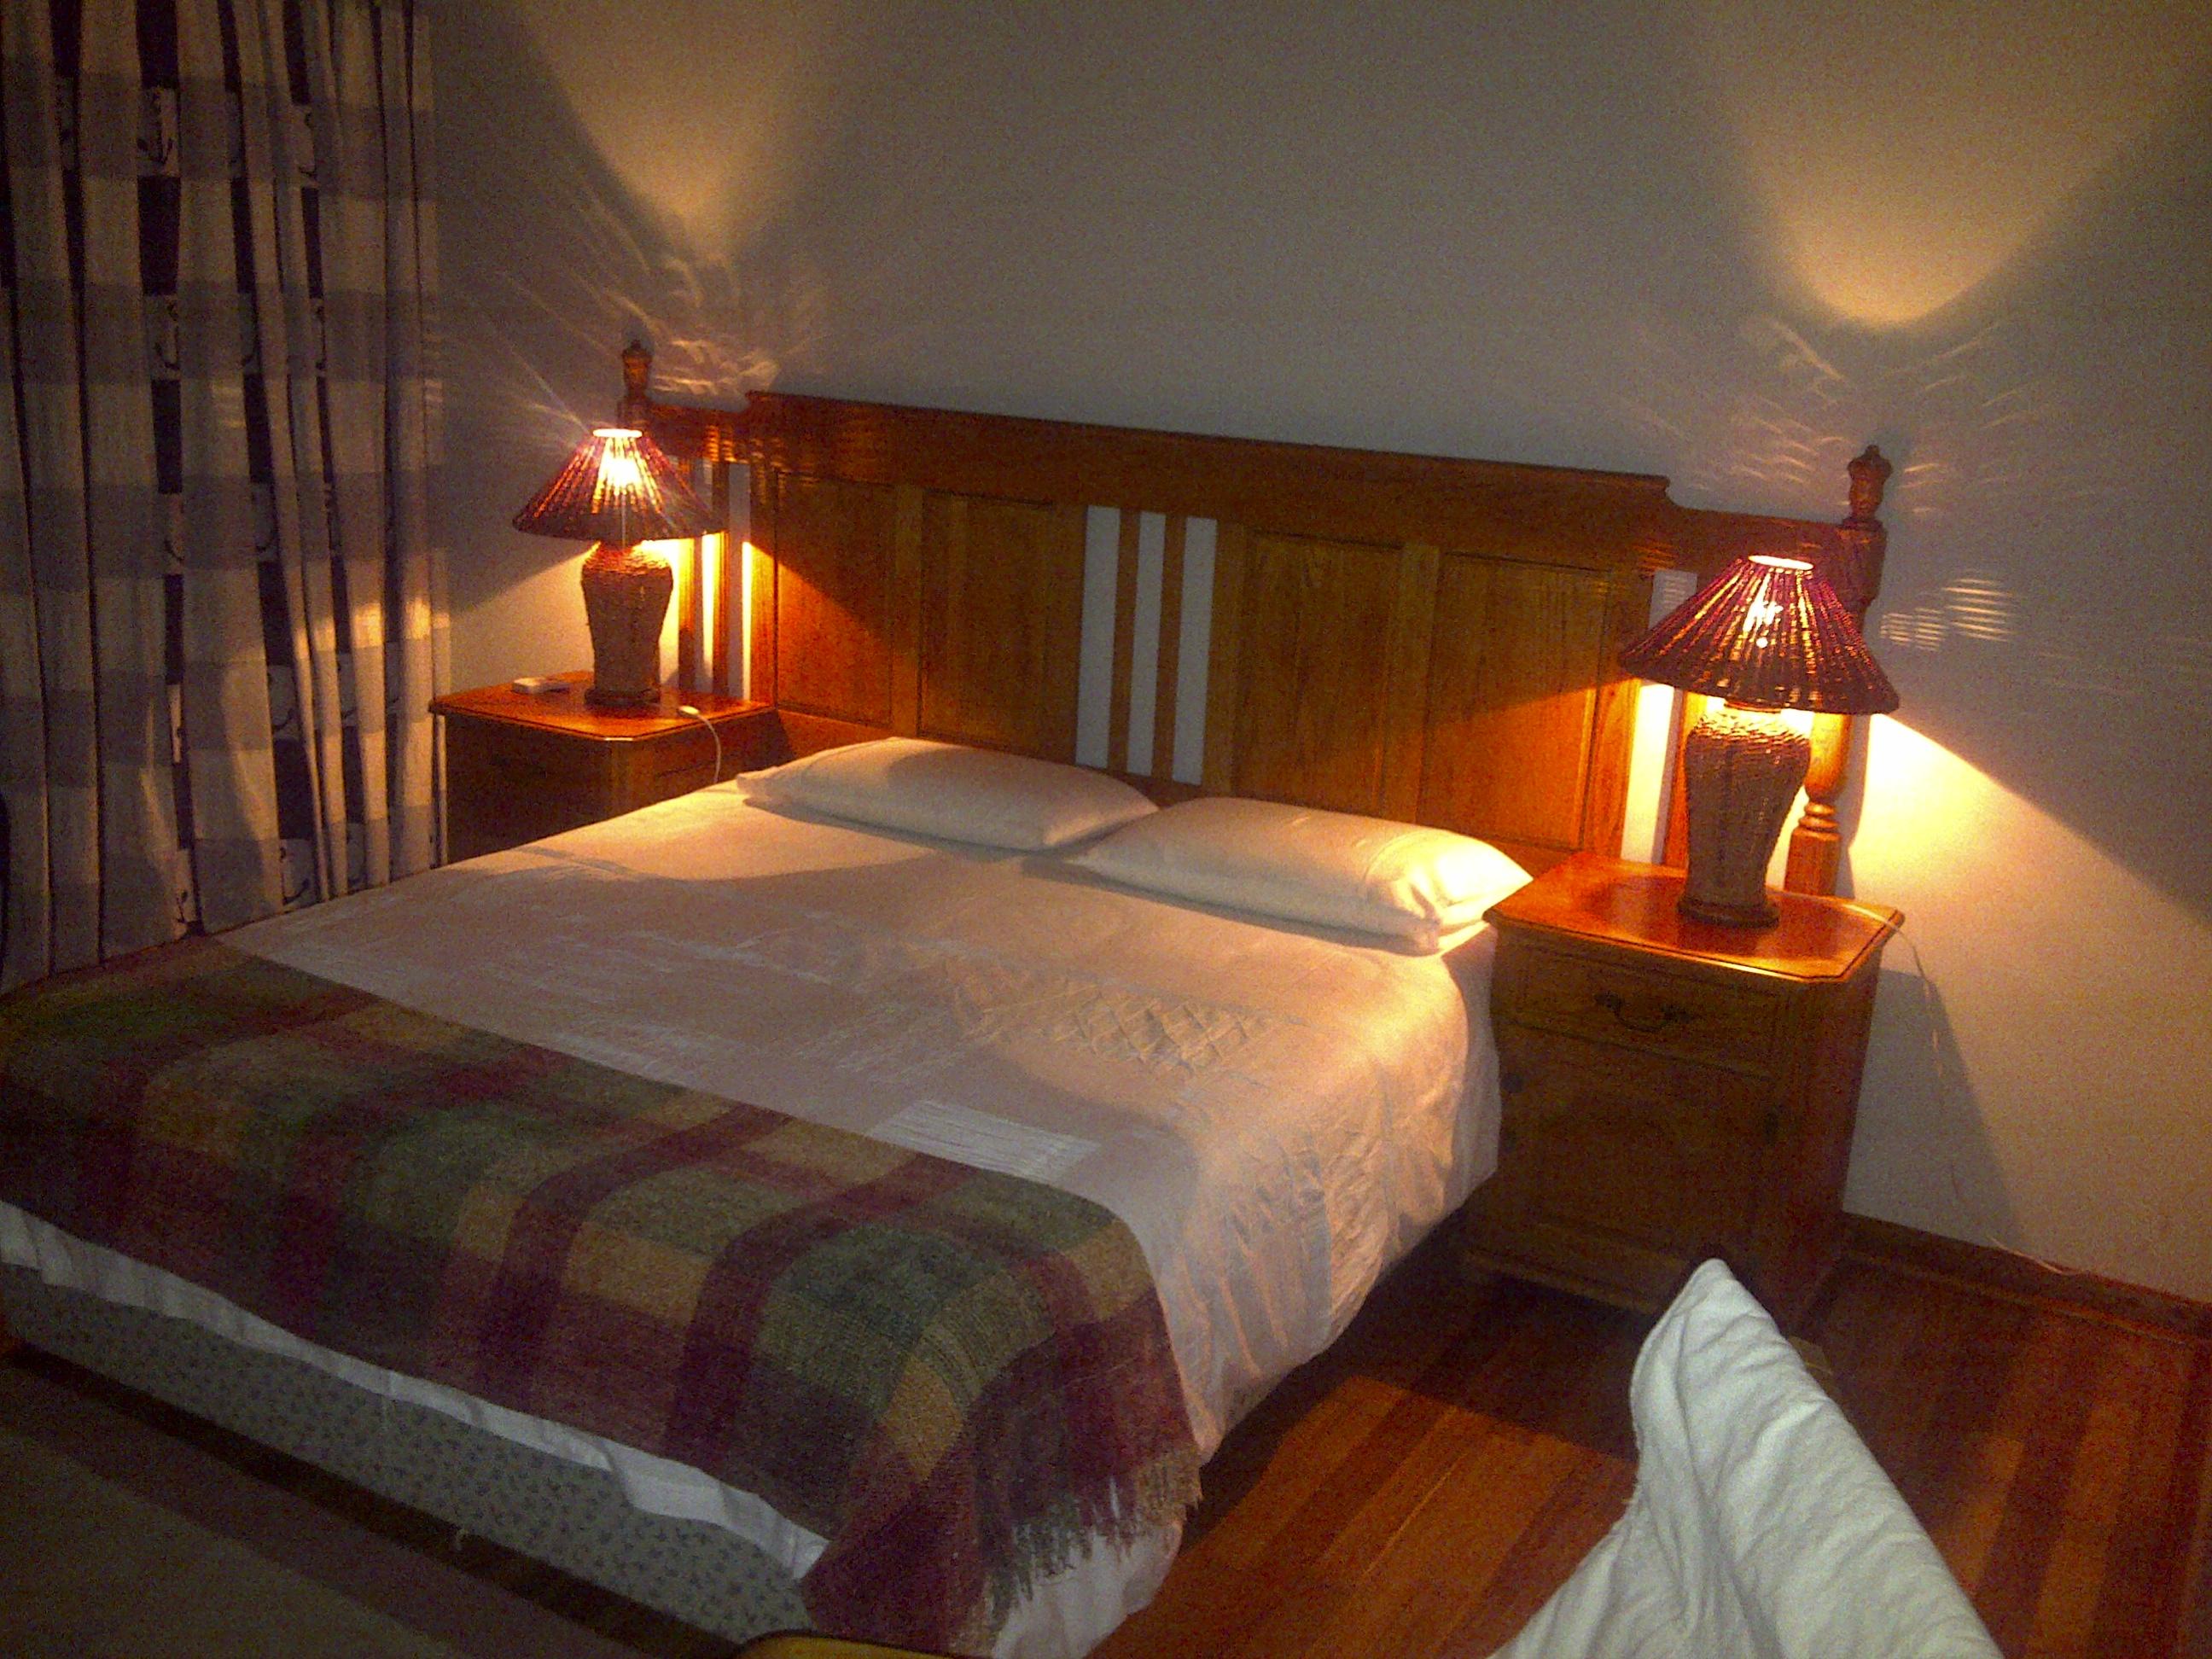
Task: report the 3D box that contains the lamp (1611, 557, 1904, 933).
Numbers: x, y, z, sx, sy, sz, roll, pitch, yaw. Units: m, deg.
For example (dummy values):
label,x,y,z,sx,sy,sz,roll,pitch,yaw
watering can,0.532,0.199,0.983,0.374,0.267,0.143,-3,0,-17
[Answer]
label,x,y,z,sx,sy,sz,roll,pitch,yaw
lamp,1.207,-0.149,2.984,0.440,0.647,0.440,11,8,23

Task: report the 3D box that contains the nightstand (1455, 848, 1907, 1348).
label,x,y,z,sx,sy,sz,roll,pitch,yaw
nightstand,1.081,0.451,3.152,0.627,0.777,0.538,6,25,20

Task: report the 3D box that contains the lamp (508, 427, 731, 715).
label,x,y,z,sx,sy,sz,roll,pitch,yaw
lamp,-1.206,-0.634,3.995,0.464,0.642,0.442,-2,5,-25

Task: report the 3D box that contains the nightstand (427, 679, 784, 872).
label,x,y,z,sx,sy,sz,roll,pitch,yaw
nightstand,-1.281,-0.196,4.038,0.613,0.635,0.498,11,17,33
